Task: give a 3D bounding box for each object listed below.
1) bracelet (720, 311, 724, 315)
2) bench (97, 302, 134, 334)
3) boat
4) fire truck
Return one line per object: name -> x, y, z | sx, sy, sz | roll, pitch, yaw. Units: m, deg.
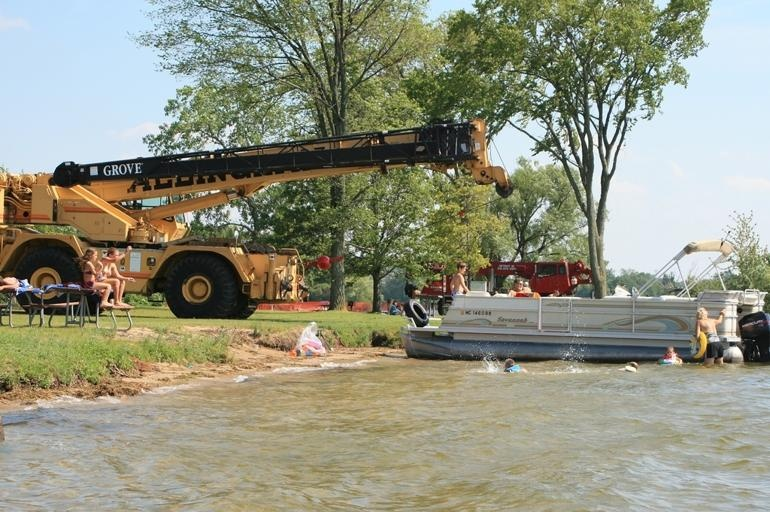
bracelet -> 10.315, 1.749, 32.109 | 0.094, 0.105, 0.036 | 4, -8, -1
bench -> -8.220, 1.788, 31.473 | 1.357, 1.097, 1.540 | 0, 2, -12
boat -> 5.284, 1.443, 35.207 | 15.942, 5.030, 4.003 | 1, -4, 8
fire truck -> 7.905, 2.020, 60.650 | 11.159, 2.893, 3.515 | -1, 0, 10
